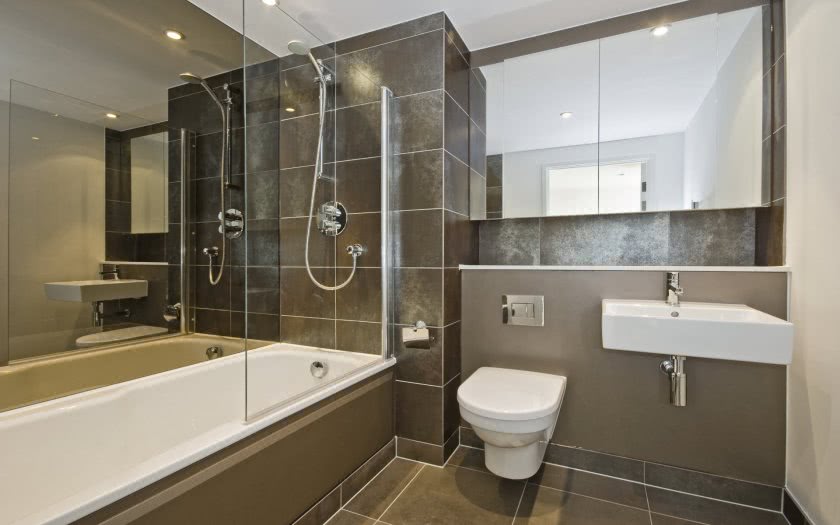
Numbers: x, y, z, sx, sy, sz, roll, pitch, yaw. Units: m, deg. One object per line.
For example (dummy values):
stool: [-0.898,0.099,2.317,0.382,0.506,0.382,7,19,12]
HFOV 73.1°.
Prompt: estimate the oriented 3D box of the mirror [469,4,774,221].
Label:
mirror: [1.531,-1.105,4.072,1.572,1.059,0.033,-1,4,23]

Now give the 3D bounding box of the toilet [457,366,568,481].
toilet: [0.651,1.035,3.919,0.696,0.541,0.729,2,8,26]

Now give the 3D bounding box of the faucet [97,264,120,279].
faucet: [-2.129,0.059,3.892,0.085,0.124,0.127,1,1,26]

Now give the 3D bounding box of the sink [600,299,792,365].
sink: [1.756,0.457,3.703,1.089,0.410,0.334,-1,3,14]
